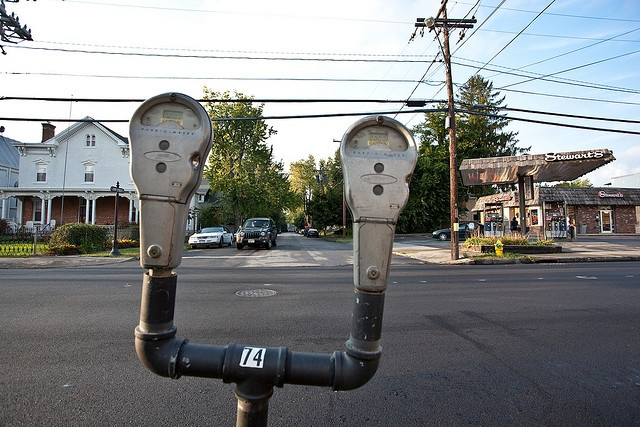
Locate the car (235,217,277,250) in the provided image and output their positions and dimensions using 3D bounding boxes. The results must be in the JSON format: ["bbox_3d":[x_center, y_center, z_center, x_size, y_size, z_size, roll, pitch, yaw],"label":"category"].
[{"bbox_3d":[-3.484,1.094,28.138,1.225,1.127,2.612,-3,-8,4],"label":"car"}]

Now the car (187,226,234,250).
[{"bbox_3d":[-6.461,1.435,30.606,1.191,0.843,2.877,-2,-7,7],"label":"car"}]

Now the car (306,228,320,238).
[{"bbox_3d":[-0.814,2.164,56.914,1.024,0.807,2.354,1,4,-2],"label":"car"}]
